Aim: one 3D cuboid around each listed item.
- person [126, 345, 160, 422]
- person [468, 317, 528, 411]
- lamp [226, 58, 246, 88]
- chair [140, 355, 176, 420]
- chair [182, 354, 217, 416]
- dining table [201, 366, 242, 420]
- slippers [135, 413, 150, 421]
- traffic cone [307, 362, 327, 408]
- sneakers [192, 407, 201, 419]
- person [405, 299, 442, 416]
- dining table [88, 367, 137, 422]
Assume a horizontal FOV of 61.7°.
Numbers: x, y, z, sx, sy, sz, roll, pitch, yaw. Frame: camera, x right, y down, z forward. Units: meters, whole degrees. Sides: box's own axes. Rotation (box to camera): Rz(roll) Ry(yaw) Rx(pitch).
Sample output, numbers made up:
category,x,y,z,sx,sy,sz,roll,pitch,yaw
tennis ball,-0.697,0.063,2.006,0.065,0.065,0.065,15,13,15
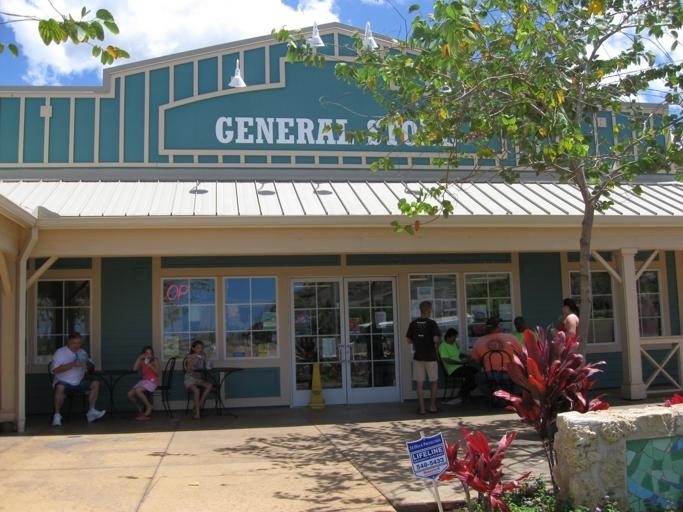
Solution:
category,x,y,z,sx,sy,sz,roll,pitch,yaw
person,-3.687,2.328,10.732,0.539,1.288,0.725,0,-4,-10
person,3.057,2.078,11.135,1.110,1.755,0.944,-2,-10,0
lamp,-2.314,-4.077,12.734,0.414,0.734,0.419,0,-4,-11
chair,-3.504,2.406,10.859,0.608,0.974,0.522,4,0,-24
chair,-2.669,2.217,10.702,0.531,1.358,0.647,1,5,-24
dining table,-2.380,2.602,11.003,0.940,0.862,0.862,0,-10,-6
slippers,-3.622,2.921,10.407,0.097,0.064,0.176,3,-8,36
traffic cone,-0.497,2.571,11.455,0.303,0.844,0.393,-1,-4,0
sneakers,-2.662,2.859,10.543,0.133,0.183,0.336,0,-4,-14
person,1.510,1.840,10.502,0.575,1.989,0.511,-1,-4,3
dining table,-4.428,2.628,10.998,0.867,0.781,0.871,-10,-12,41
